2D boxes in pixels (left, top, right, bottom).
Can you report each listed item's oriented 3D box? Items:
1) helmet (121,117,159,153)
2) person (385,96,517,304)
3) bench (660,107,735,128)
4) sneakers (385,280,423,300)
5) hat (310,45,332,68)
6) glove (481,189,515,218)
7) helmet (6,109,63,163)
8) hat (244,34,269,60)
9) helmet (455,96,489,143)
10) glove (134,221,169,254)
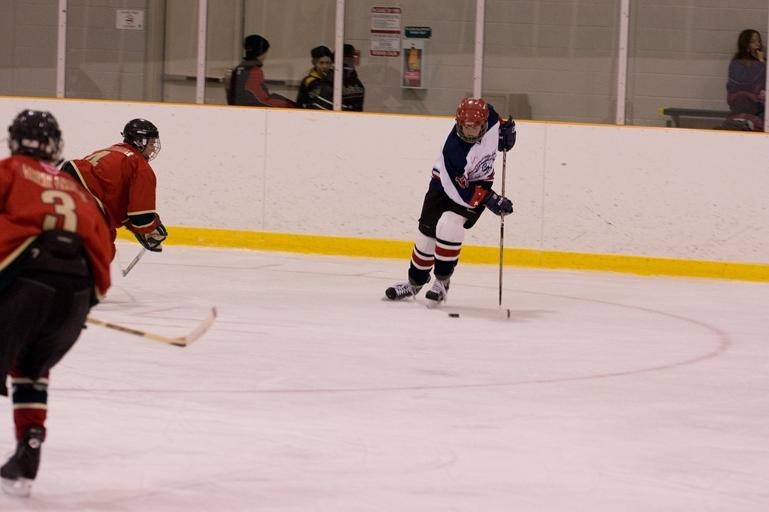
[{"bbox_3d":[-1.570,-0.796,5.926,0.271,0.209,0.202,3,21,-10],"label":"helmet"},{"bbox_3d":[0.493,-0.375,6.572,0.852,1.510,0.488,3,14,3],"label":"person"},{"bbox_3d":[2.782,-1.233,8.100,0.588,0.167,0.127,0,14,-7],"label":"bench"},{"bbox_3d":[0.142,0.265,6.714,0.333,0.106,0.139,-10,7,-32],"label":"sneakers"},{"bbox_3d":[-0.564,-1.826,8.347,0.162,0.165,0.199,8,21,29],"label":"hat"},{"bbox_3d":[0.801,-0.363,6.441,0.221,0.082,0.146,23,38,-25],"label":"glove"},{"bbox_3d":[-1.387,-0.472,3.576,0.245,0.205,0.181,1,3,-30],"label":"helmet"},{"bbox_3d":[-1.207,-1.921,8.401,0.250,0.180,0.194,5,-5,-21],"label":"hat"},{"bbox_3d":[0.628,-0.971,6.388,0.259,0.261,0.293,-3,31,1],"label":"helmet"},{"bbox_3d":[-1.571,-0.117,6.057,0.234,0.083,0.188,22,18,35],"label":"glove"}]
